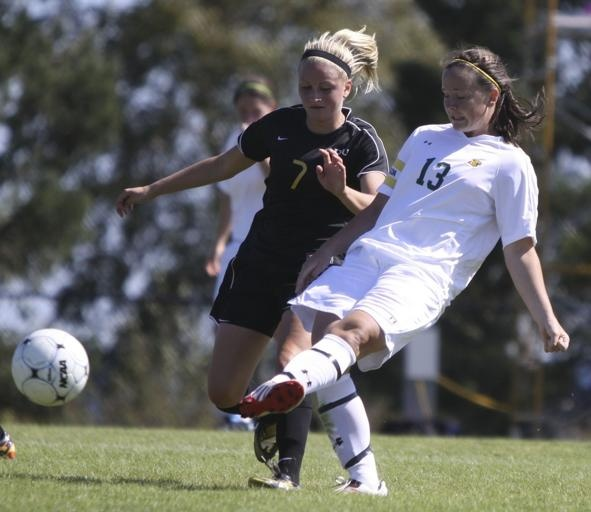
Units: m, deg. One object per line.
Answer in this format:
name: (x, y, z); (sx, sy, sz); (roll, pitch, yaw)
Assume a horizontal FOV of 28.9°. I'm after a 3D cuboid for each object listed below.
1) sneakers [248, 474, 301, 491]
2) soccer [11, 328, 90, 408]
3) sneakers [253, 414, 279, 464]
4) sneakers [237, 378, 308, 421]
sneakers: (-0.112, 1.196, 6.043); (0.182, 0.064, 0.101); (11, -9, -22)
soccer: (-1.362, 0.680, 6.741); (0.466, 0.506, 0.431); (2, -9, 8)
sneakers: (-0.145, 0.997, 6.354); (0.116, 0.336, 0.135); (9, 19, 11)
sneakers: (-0.102, 0.705, 5.743); (0.366, 0.145, 0.162); (-17, 6, 1)
